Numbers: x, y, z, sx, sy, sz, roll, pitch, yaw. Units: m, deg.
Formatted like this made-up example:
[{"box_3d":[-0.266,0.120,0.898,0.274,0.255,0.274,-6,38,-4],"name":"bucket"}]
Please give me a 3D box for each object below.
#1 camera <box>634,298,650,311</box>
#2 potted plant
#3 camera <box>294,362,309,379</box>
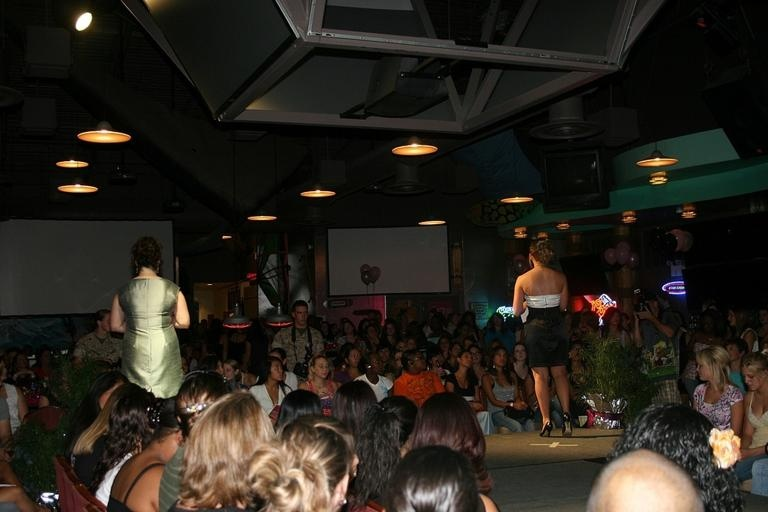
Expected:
[{"box_3d":[3.328,0.632,7.520,0.142,0.153,0.141,5,-6,-16],"name":"camera"},{"box_3d":[2.508,1.402,6.671,0.859,1.089,0.784,-7,-20,43],"name":"potted plant"},{"box_3d":[-1.014,1.406,7.141,0.197,0.079,0.203,39,15,15],"name":"camera"}]
